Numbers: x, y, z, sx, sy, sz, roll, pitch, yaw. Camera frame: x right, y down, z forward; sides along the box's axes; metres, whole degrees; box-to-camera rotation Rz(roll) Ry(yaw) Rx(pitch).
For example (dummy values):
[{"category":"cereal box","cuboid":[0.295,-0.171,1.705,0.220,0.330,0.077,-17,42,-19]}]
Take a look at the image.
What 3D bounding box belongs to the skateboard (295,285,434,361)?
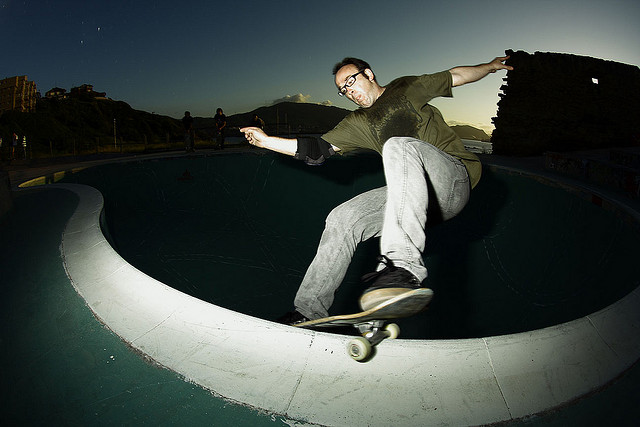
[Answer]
[{"category":"skateboard","cuboid":[0.165,0.712,2.501,0.343,0.292,1.183,23,-25,-31]}]
